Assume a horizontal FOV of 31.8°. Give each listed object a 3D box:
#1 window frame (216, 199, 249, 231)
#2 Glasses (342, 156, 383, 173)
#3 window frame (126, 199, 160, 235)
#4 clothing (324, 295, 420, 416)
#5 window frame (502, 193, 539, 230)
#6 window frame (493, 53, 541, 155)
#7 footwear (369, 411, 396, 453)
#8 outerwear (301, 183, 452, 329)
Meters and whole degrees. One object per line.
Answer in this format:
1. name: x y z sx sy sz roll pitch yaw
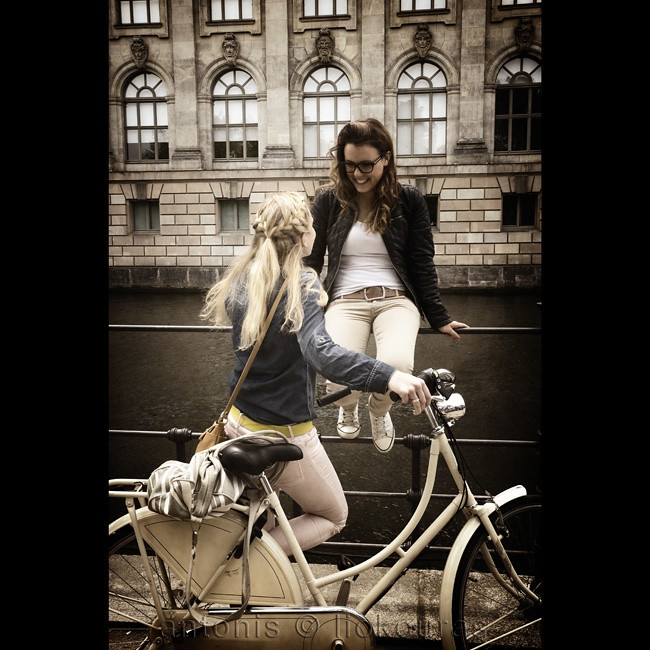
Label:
1. window frame: -0.549 -0.661 6.792 0.168 0.164 0.015 7 22 21
2. Glasses: 0.179 -0.739 5.286 0.175 0.080 0.058 -1 3 4
3. window frame: -1.039 -0.620 6.477 0.189 0.225 0.019 -1 11 -4
4. clothing: 0.225 0.110 5.271 0.359 0.612 0.179 0 -1 13
5. window frame: 1.057 -0.619 6.139 0.206 0.244 0.020 2 23 11
6. window frame: 1.010 -1.150 6.026 0.241 0.507 0.345 -1 4 9
7. footwear: 0.268 0.501 5.378 0.079 0.229 0.084 -11 -21 12
8. outerwear: 0.221 -0.320 5.385 0.817 0.798 0.246 1 0 4
